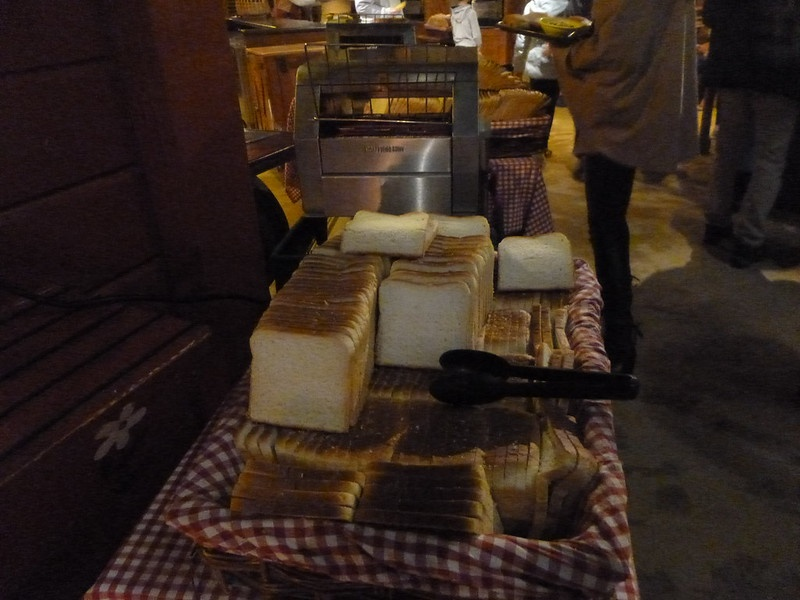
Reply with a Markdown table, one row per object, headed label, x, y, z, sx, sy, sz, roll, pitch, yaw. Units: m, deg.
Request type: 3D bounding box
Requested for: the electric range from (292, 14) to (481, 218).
| label | x | y | z | sx | sy | sz | roll | pitch | yaw |
| --- | --- | --- | --- | --- | --- | --- | --- | --- | --- |
| electric range | -0.060 | -1.011 | 3.520 | 1.195 | 0.929 | 1.288 | 0 | 22 | 3 |
